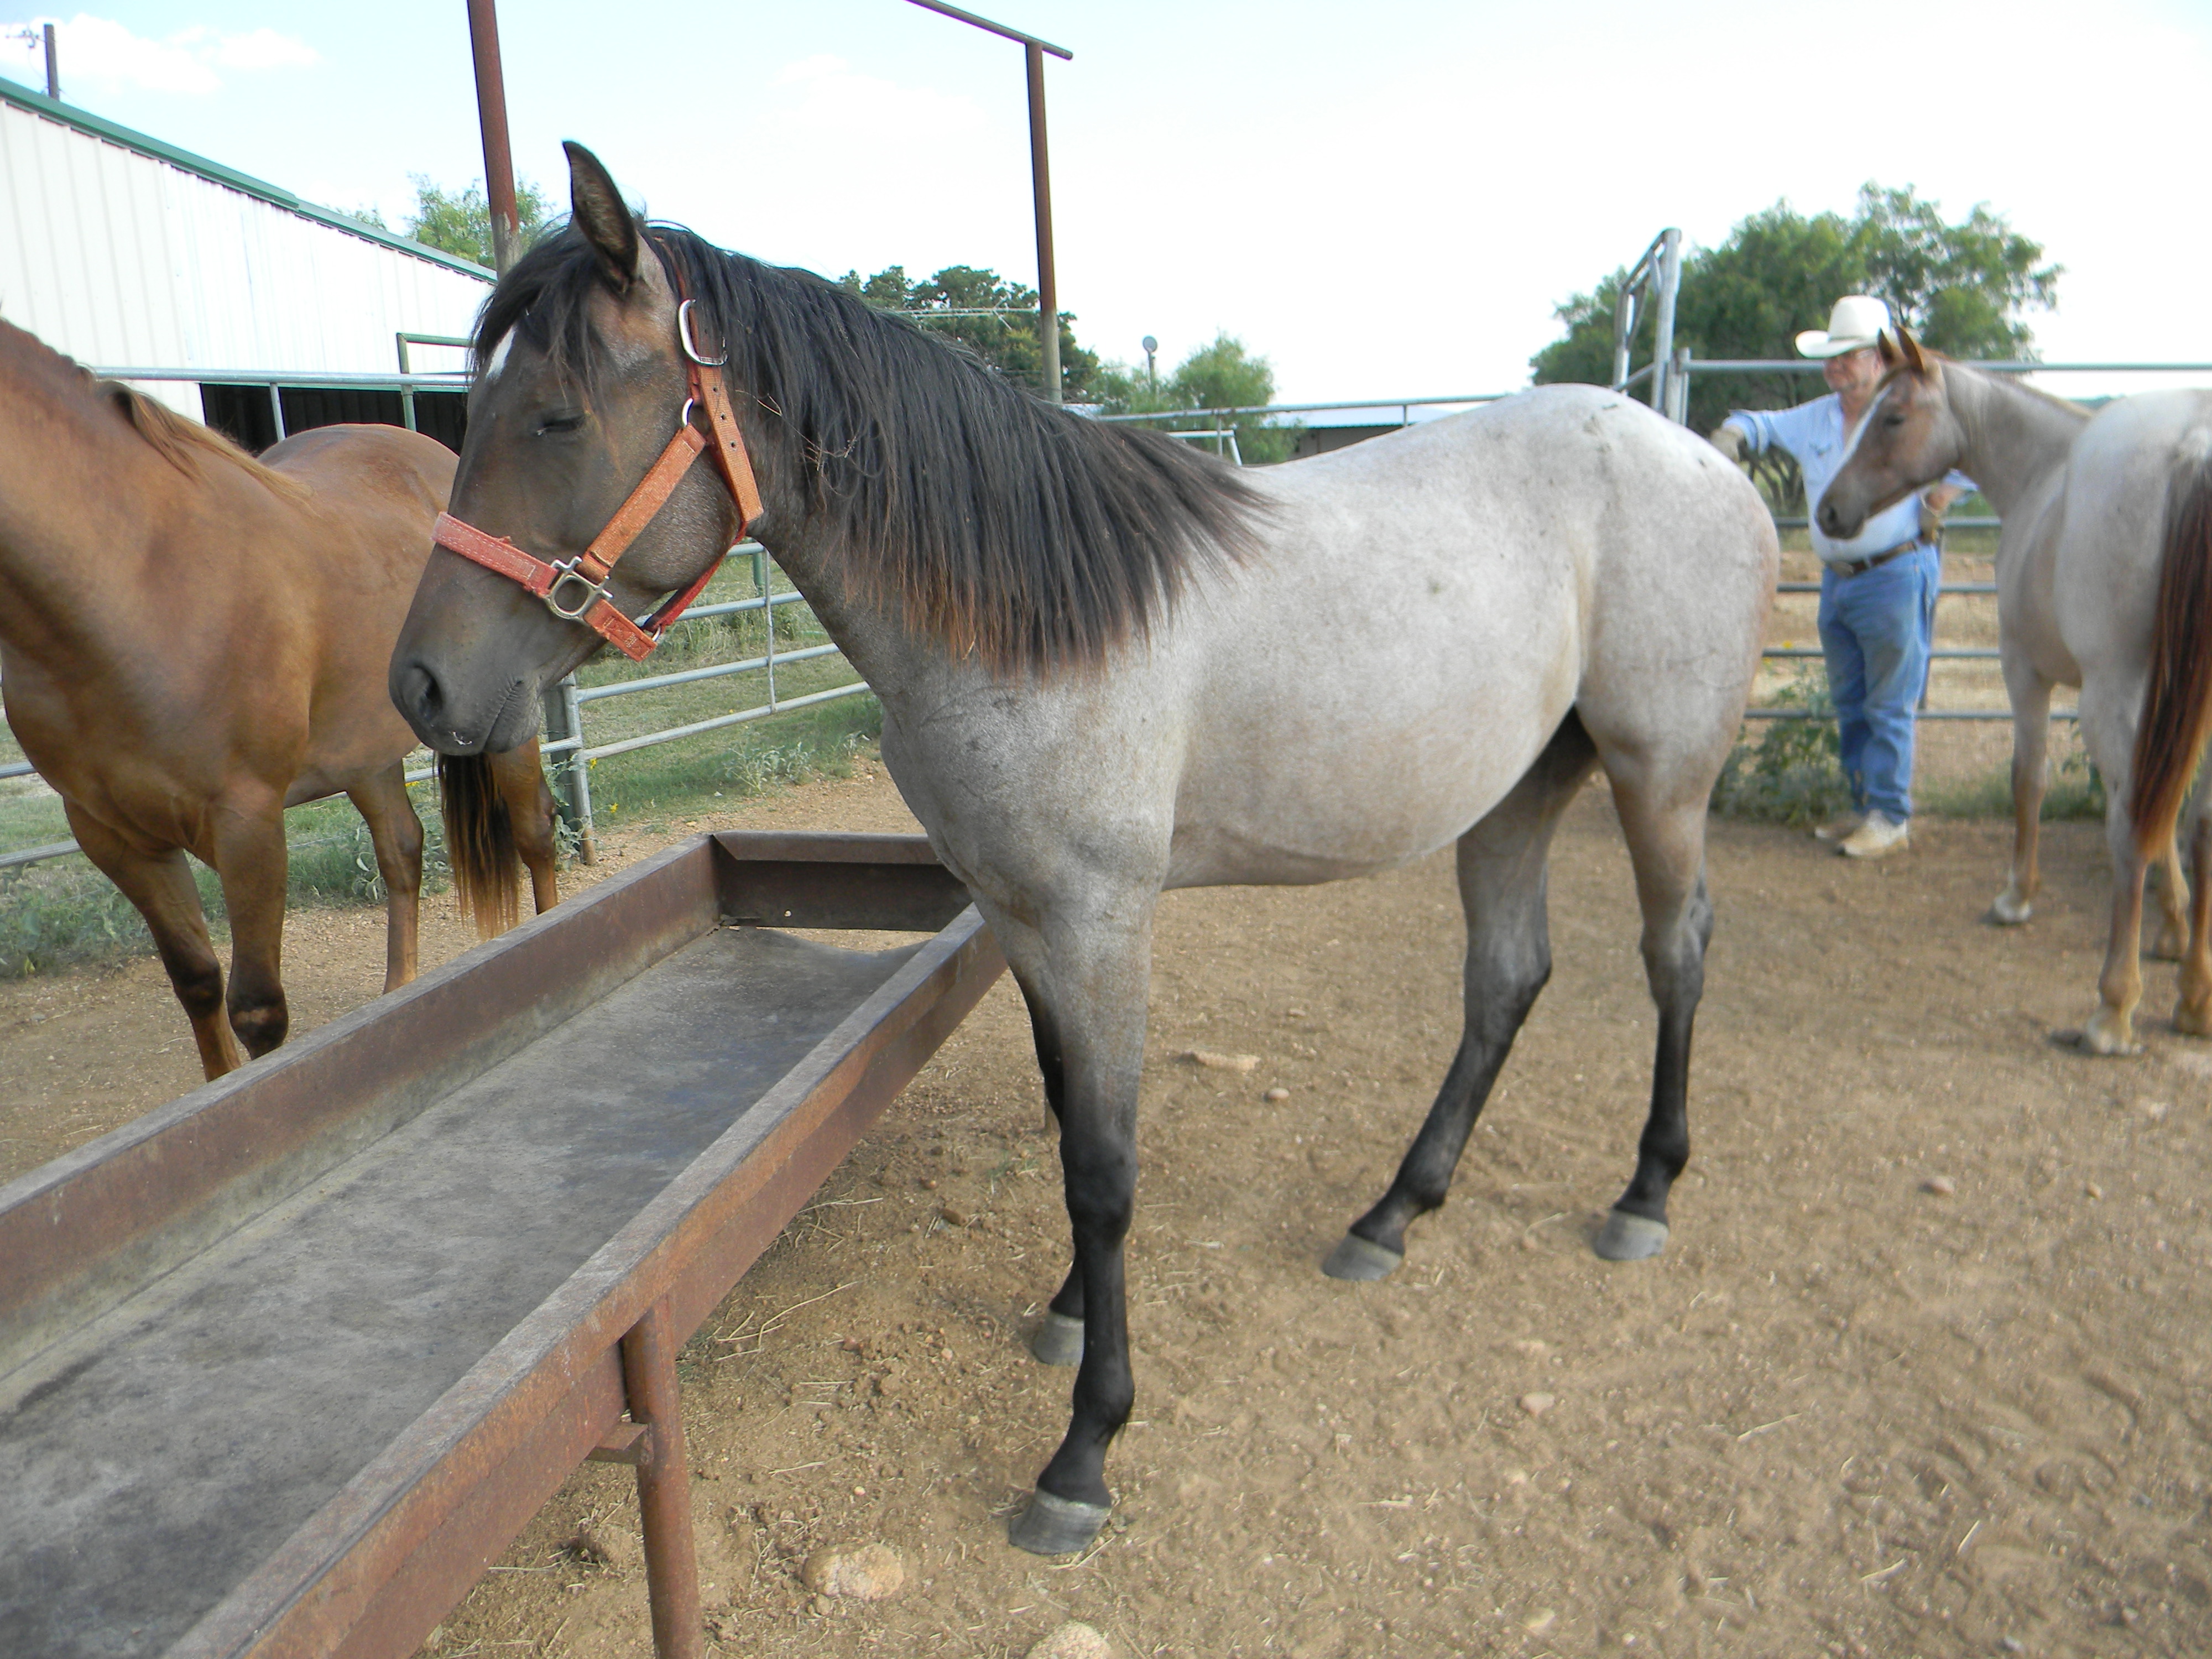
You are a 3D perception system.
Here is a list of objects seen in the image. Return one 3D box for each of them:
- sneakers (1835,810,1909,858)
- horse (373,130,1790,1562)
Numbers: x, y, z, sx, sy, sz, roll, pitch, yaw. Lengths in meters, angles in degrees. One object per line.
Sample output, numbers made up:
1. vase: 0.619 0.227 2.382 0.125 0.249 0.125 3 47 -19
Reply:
1. sneakers: 3.376 0.026 6.420 0.417 0.210 0.148 -10 13 -37
2. horse: 0.083 0.011 3.083 2.781 2.634 0.693 -10 15 -27
